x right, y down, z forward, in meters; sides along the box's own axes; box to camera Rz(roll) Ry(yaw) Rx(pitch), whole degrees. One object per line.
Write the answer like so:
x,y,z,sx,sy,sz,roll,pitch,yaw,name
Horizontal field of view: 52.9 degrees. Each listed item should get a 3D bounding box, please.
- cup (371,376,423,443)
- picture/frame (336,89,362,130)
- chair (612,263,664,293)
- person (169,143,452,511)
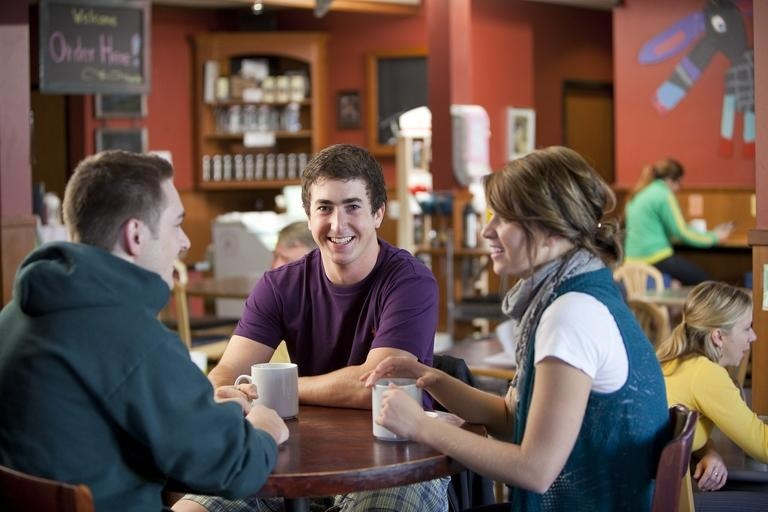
0.040,0.431,2.199,0.141,0.152,0.160,-1,1,-11,cup
-0.375,-1.615,8.401,0.367,0.533,0.056,3,12,18,picture/frame
1.813,0.157,5.537,0.213,0.270,0.195,-3,2,-39,chair
-0.450,0.354,3.237,0.954,1.616,1.223,-6,-17,24,person
